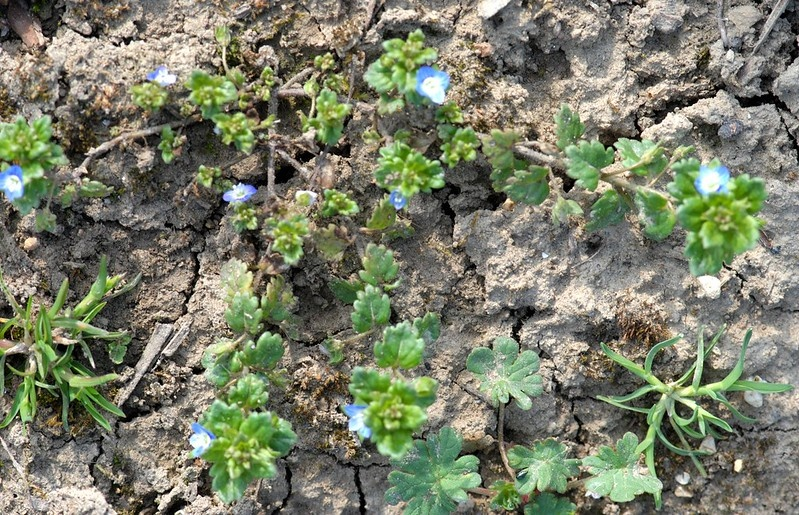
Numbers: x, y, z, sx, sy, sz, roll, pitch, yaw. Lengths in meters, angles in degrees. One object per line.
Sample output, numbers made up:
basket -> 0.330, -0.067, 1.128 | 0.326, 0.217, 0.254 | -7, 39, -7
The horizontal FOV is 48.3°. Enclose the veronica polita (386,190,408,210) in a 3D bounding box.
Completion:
veronica polita -> -0.013, -0.502, 7.668 | 0.126, 0.033, 0.156 | 0, 103, 32

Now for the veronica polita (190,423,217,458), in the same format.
veronica polita -> -1.634, 1.511, 7.374 | 0.273, 0.175, 0.286 | 4, 79, 45

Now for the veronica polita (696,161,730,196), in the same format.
veronica polita -> 2.516, -0.627, 7.226 | 0.293, 0.049, 0.238 | -17, 74, -10
